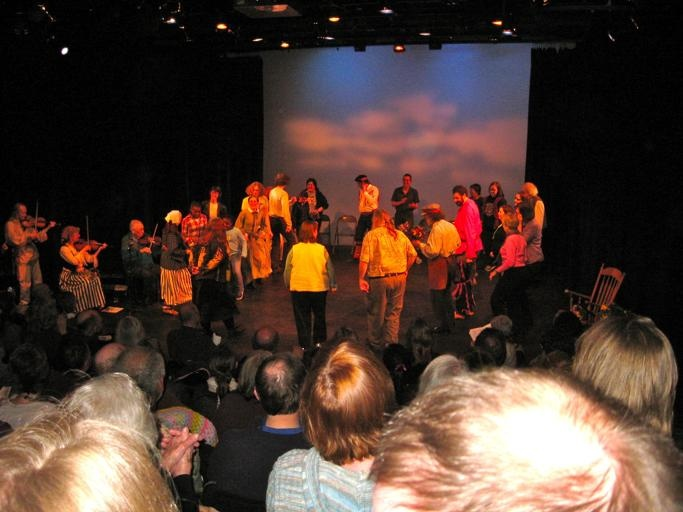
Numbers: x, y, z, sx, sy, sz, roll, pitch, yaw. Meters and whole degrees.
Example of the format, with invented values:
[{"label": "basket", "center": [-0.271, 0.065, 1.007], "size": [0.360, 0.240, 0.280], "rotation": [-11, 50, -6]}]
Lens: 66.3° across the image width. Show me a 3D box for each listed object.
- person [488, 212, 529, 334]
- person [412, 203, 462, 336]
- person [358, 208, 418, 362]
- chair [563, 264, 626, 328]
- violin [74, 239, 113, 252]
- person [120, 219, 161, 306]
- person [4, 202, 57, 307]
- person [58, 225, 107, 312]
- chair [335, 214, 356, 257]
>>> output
[{"label": "person", "center": [1.870, 0.152, 5.675], "size": [0.417, 1.266, 0.659], "rotation": [0, 6, -14]}, {"label": "person", "center": [1.130, 0.135, 6.170], "size": [0.484, 1.475, 0.653], "rotation": [2, 6, 10]}, {"label": "person", "center": [0.478, 0.267, 5.455], "size": [0.570, 1.500, 0.261], "rotation": [1, 6, 2]}, {"label": "chair", "center": [2.565, 0.447, 5.386], "size": [0.508, 0.613, 0.522], "rotation": [9, 0, 9]}, {"label": "violin", "center": [-3.741, -0.176, 7.866], "size": [0.452, 0.177, 0.110], "rotation": [8, 50, -1]}, {"label": "person", "center": [-2.859, 0.088, 7.477], "size": [0.489, 1.205, 0.549], "rotation": [-1, 7, -21]}, {"label": "person", "center": [-4.316, -0.053, 7.261], "size": [0.585, 1.343, 1.576], "rotation": [-2, 7, -29]}, {"label": "person", "center": [-3.478, 0.160, 7.058], "size": [0.559, 1.137, 2.693], "rotation": [-2, 6, -25]}, {"label": "chair", "center": [0.109, -0.551, 12.822], "size": [0.664, 0.966, 0.683], "rotation": [2, 14, -13]}]
